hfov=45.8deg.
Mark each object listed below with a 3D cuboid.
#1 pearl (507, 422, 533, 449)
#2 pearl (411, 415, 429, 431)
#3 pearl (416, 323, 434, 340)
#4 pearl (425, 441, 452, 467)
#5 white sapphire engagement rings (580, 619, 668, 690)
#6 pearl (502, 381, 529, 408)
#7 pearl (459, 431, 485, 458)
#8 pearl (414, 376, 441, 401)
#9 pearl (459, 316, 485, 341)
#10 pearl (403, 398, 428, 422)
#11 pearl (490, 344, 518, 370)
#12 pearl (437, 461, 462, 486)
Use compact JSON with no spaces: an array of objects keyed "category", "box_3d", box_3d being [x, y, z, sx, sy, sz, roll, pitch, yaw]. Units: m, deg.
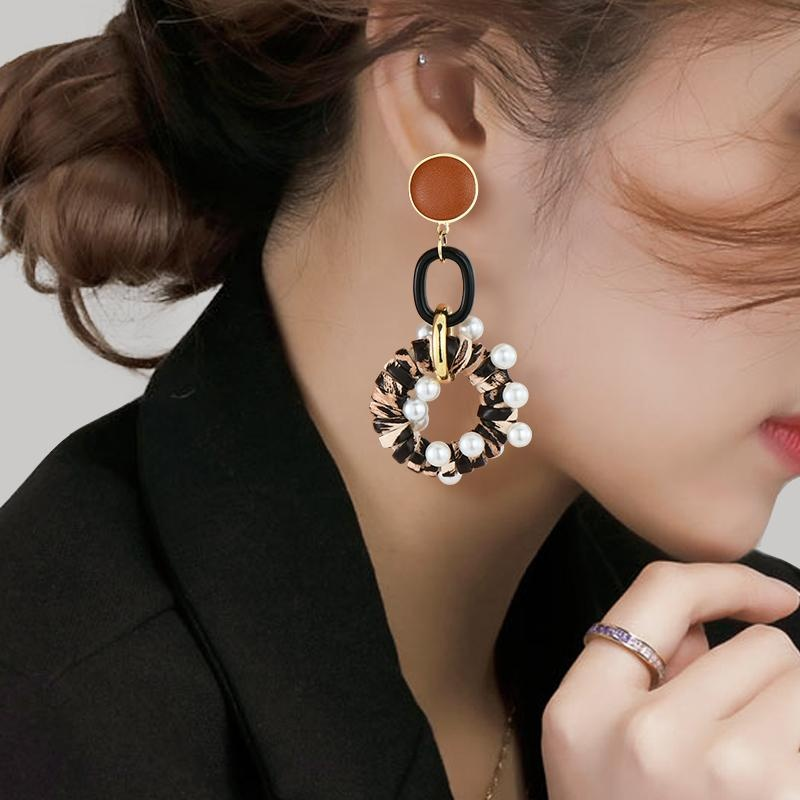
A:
[{"category":"pearl","box_3d":[0.126,0.036,0.994,0.032,0.027,0.028,-7,112,3]},{"category":"pearl","box_3d":[0.020,0.023,0.998,0.020,0.018,0.015,-12,88,-3]},{"category":"pearl","box_3d":[0.026,-0.072,0.993,0.020,0.017,0.017,2,96,5]},{"category":"pearl","box_3d":[0.040,0.057,1.000,0.031,0.027,0.027,3,102,4]},{"category":"white sapphire engagement rings","box_3d":[0.260,0.276,1.051,0.082,0.082,0.018,38,71,-27]},{"category":"pearl","box_3d":[0.122,-0.006,0.975,0.032,0.017,0.024,3,87,2]},{"category":"pearl","box_3d":[0.082,0.047,1.012,0.032,0.027,0.027,1,101,6]},{"category":"pearl","box_3d":[0.029,-0.012,0.985,0.030,0.026,0.026,2,93,6]},{"category":"pearl","box_3d":[0.074,-0.073,0.967,0.029,0.024,0.026,2,121,6]},{"category":"pearl","box_3d":[0.016,0.010,0.986,0.028,0.015,0.021,3,88,-3]},{"category":"pearl","box_3d":[0.107,-0.046,0.971,0.030,0.029,0.027,4,102,35]},{"category":"pearl","box_3d":[0.054,0.078,1.015,0.027,0.012,0.025,-1,91,1]}]
